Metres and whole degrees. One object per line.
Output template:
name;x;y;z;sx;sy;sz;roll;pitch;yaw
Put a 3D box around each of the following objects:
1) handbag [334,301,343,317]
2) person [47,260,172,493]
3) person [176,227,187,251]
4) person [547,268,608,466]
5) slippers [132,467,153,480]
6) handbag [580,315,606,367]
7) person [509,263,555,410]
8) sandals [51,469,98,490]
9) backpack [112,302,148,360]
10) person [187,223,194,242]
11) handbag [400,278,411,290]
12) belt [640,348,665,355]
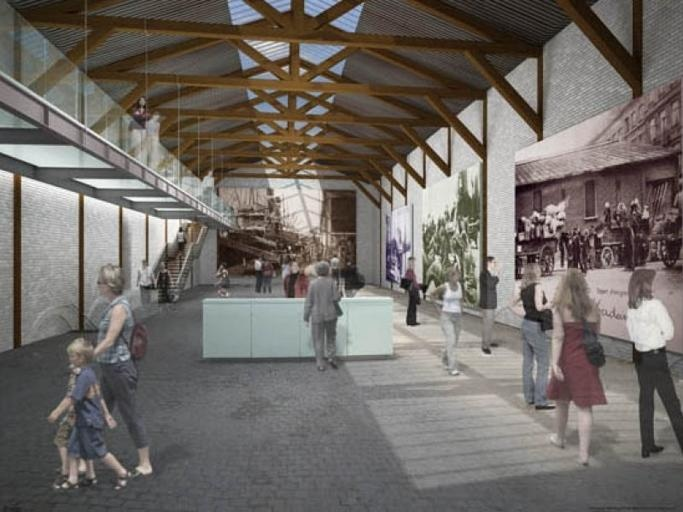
handbag;-0.044;0.910;9.168;0.121;0.296;0.368;0;3;7
person;-2.140;1.135;4.957;0.513;2.103;0.394;-1;3;-22
person;-8.198;-0.935;25.901;0.464;1.204;1.884;-1;3;-18
person;2.473;1.161;5.345;0.535;2.062;0.310;1;3;24
slippers;-2.022;2.172;5.126;0.231;0.102;0.082;13;-13;-5
handbag;2.681;0.953;5.317;0.163;0.494;0.139;4;-35;20
person;2.679;1.060;6.873;0.498;1.877;0.550;2;-11;-6
sandals;-2.626;2.189;5.005;0.370;0.123;0.179;5;-10;-12
backpack;-2.007;0.791;4.954;0.194;0.363;0.256;7;4;-21
person;-8.553;-1.380;28.638;0.307;0.947;1.946;-1;3;-13
handbag;1.649;0.687;13.354;0.271;0.284;0.259;1;10;-22
belt;3.232;0.970;5.261;0.218;0.068;0.040;0;3;16
